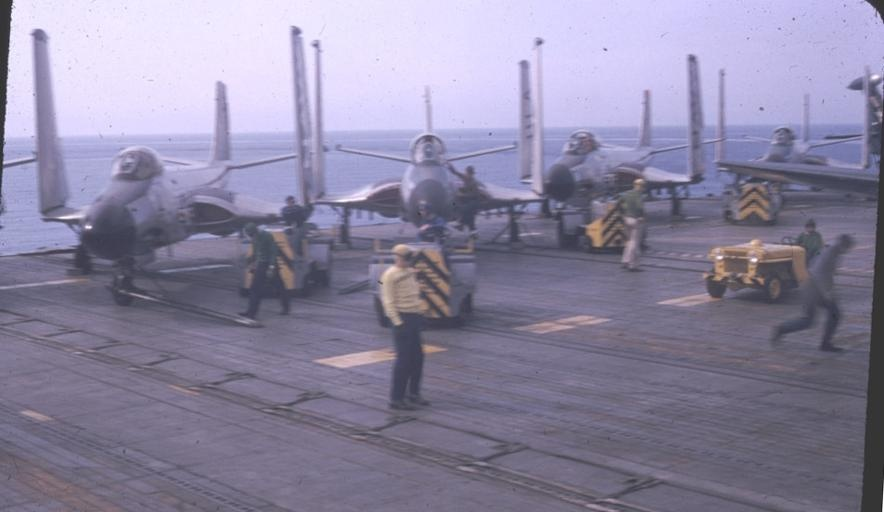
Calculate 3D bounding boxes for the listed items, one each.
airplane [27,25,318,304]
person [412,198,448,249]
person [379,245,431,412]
[{"bbox_3d":[-8.097,-2.467,26.695,7.388,4.012,8.283,0,6,1],"label":"airplane"},{"bbox_3d":[-0.389,-0.858,23.388,0.499,1.039,0.973,-11,10,-42],"label":"person"},{"bbox_3d":[-0.757,1.407,17.400,0.775,3.152,0.564,-13,16,-37],"label":"person"}]
